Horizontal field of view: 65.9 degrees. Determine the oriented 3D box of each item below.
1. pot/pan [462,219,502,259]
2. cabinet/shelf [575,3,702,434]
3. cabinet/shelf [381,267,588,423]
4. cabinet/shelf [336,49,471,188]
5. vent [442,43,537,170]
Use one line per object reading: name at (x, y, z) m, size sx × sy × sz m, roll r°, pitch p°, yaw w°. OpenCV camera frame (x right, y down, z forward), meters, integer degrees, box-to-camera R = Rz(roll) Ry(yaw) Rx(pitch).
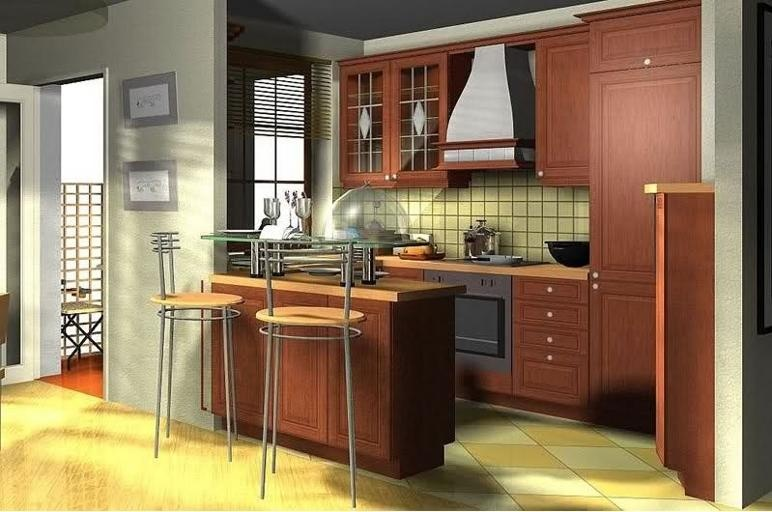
pot/pan at (0.895, -0.176, 5.721) m, size 0.344 × 0.360 × 0.343 m, roll 1°, pitch 4°, yaw 26°
cabinet/shelf at (1.897, -0.253, 4.476) m, size 0.808 × 3.175 × 0.254 m, roll 1°, pitch 4°, yaw 23°
cabinet/shelf at (1.014, 0.704, 5.548) m, size 0.729 × 1.112 × 2.283 m, roll -2°, pitch 2°, yaw -45°
cabinet/shelf at (0.222, -1.362, 5.892) m, size 1.800 × 1.426 × 0.571 m, roll 1°, pitch 1°, yaw 36°
vent at (1.069, -1.451, 5.672) m, size 0.849 × 1.046 × 1.005 m, roll 4°, pitch 17°, yaw 15°
